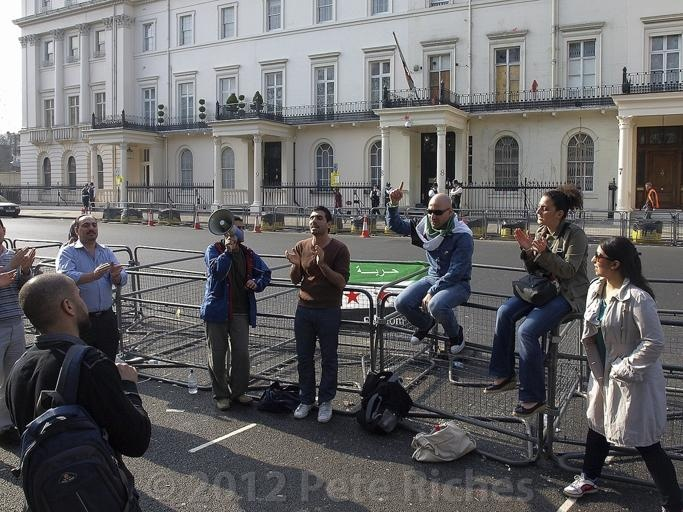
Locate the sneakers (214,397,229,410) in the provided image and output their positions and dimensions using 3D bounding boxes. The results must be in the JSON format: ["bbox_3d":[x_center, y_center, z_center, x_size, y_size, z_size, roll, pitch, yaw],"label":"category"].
[{"bbox_3d":[-1.406,1.714,8.220,0.222,0.097,0.196,0,9,10],"label":"sneakers"}]

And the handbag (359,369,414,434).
[{"bbox_3d":[0.477,1.588,7.809,0.570,0.637,0.445,-6,16,-25],"label":"handbag"}]

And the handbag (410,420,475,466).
[{"bbox_3d":[1.016,1.907,7.119,0.431,0.228,0.382,-6,3,6],"label":"handbag"}]

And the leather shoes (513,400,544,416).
[{"bbox_3d":[1.863,1.512,6.963,0.228,0.100,0.144,-2,3,-10],"label":"leather shoes"}]

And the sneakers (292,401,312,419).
[{"bbox_3d":[-0.433,1.748,8.011,0.199,0.136,0.235,-1,9,3],"label":"sneakers"}]

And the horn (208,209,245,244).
[{"bbox_3d":[-1.321,-0.371,8.062,0.292,0.344,0.479,7,-19,21],"label":"horn"}]

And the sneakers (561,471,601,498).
[{"bbox_3d":[2.279,2.130,6.595,0.385,0.214,0.146,0,-1,-19],"label":"sneakers"}]

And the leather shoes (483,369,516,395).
[{"bbox_3d":[1.683,1.319,7.301,0.432,0.231,0.154,-10,9,-24],"label":"leather shoes"}]

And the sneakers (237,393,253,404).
[{"bbox_3d":[-1.137,1.684,8.319,0.175,0.085,0.089,-13,-2,44],"label":"sneakers"}]

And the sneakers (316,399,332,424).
[{"bbox_3d":[-0.188,1.745,7.911,0.162,0.182,0.216,-2,8,-2],"label":"sneakers"}]

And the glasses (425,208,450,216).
[{"bbox_3d":[1.117,-0.517,8.047,0.248,0.070,0.131,1,9,17],"label":"glasses"}]

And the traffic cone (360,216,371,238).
[{"bbox_3d":[0.911,-1.075,25.954,0.519,0.860,0.576,0,-2,2],"label":"traffic cone"}]

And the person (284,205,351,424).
[{"bbox_3d":[-0.276,0.617,8.099,0.707,2.350,0.842,0,7,10],"label":"person"}]

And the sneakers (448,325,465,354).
[{"bbox_3d":[1.317,0.910,7.819,0.116,0.143,0.355,-16,20,28],"label":"sneakers"}]

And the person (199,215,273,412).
[{"bbox_3d":[-1.269,0.780,8.334,0.769,1.884,0.565,-3,7,-15],"label":"person"}]

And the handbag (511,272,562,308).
[{"bbox_3d":[1.886,0.305,7.158,0.288,0.236,0.233,14,14,5],"label":"handbag"}]

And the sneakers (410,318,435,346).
[{"bbox_3d":[0.940,0.876,8.119,0.140,0.177,0.439,-1,36,49],"label":"sneakers"}]

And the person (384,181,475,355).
[{"bbox_3d":[1.052,0.136,8.107,0.877,1.770,1.250,-7,9,-35],"label":"person"}]

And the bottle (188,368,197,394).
[{"bbox_3d":[-1.853,1.549,8.710,0.117,0.224,0.310,-3,9,-13],"label":"bottle"}]
